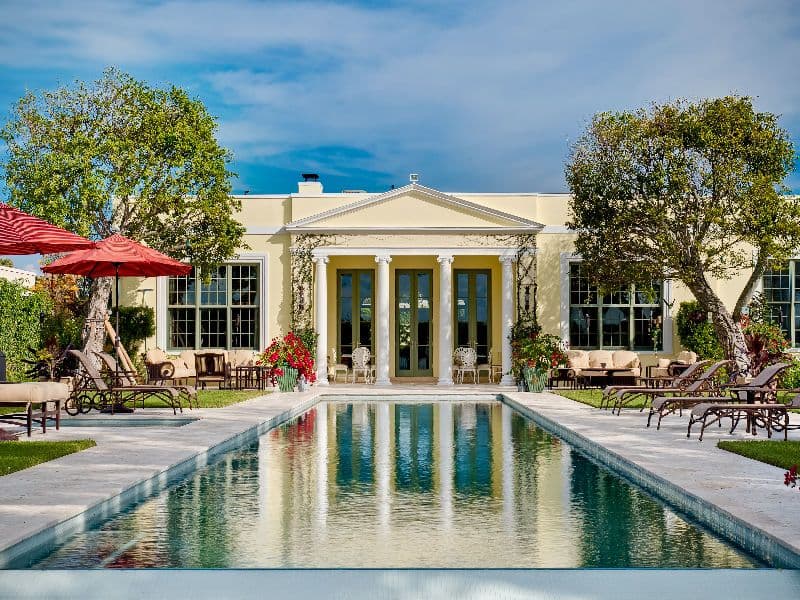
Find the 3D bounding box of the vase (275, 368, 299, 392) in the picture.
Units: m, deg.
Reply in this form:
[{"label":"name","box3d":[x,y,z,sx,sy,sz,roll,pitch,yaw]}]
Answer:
[{"label":"vase","box3d":[-2.832,1.992,22.115,0.564,0.605,0.580,1,-7,-16]}]

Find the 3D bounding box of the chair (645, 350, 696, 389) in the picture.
[{"label":"chair","box3d":[7.529,1.904,24.088,0.728,1.013,1.388,3,-2,-7]}]

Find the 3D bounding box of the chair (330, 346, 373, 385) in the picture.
[{"label":"chair","box3d":[-1.370,1.909,25.791,0.954,1.589,1.169,-1,-9,17]}]

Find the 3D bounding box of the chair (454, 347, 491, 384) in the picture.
[{"label":"chair","box3d":[2.097,1.869,25.846,0.986,1.453,1.089,0,0,15]}]

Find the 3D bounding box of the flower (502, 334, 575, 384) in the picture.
[{"label":"flower","box3d":[3.467,1.600,22.189,1.083,1.204,0.892,10,1,6]}]

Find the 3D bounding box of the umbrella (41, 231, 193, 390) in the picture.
[{"label":"umbrella","box3d":[-5.399,-0.056,16.856,2.127,2.215,2.054,3,13,-14]}]

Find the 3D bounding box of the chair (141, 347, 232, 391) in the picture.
[{"label":"chair","box3d":[-5.645,1.834,23.637,1.698,0.826,1.330,0,1,-9]}]

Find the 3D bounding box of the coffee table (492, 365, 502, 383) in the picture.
[{"label":"coffee table","box3d":[2.851,2.160,25.943,0.408,0.642,0.419,0,-4,-2]}]

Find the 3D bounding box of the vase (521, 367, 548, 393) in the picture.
[{"label":"vase","box3d":[3.349,1.957,22.037,0.618,0.639,0.407,-2,-4,20]}]
